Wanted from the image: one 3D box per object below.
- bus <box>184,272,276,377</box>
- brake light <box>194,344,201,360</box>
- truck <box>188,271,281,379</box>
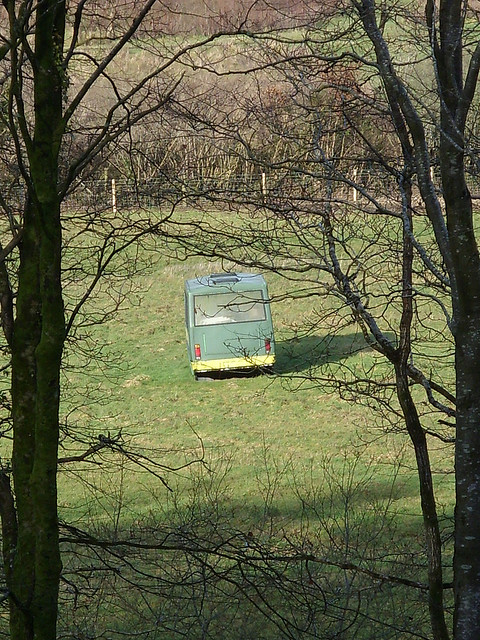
[{"bbox_3d":[-0.188,0.259,31.977,1.928,2.346,3.798,-5,0,1],"label":"bus"},{"bbox_3d":[-0.867,0.678,30.044,0.129,0.307,0.147,-6,-9,-5],"label":"brake light"},{"bbox_3d":[-0.241,0.139,31.965,1.883,2.395,3.771,-5,5,-4],"label":"truck"}]
